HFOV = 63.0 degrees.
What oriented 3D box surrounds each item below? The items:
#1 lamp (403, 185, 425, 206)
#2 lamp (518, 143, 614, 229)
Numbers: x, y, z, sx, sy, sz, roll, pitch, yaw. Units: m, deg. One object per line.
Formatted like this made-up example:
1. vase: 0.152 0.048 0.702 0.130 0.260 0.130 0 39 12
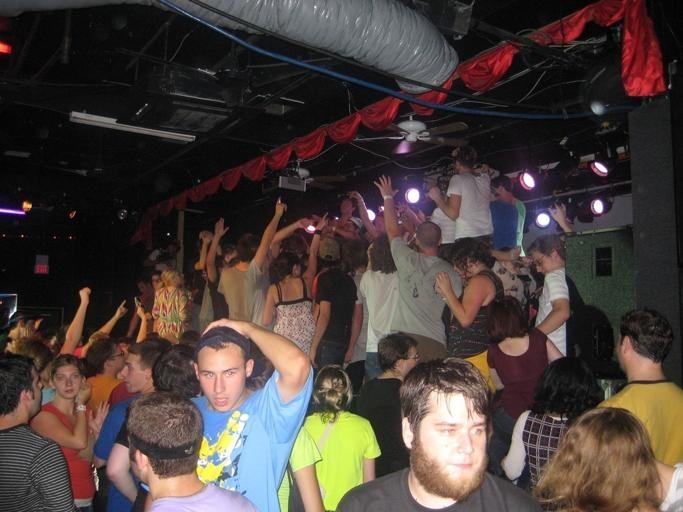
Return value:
1. lamp: 1.314 -1.129 10.265 0.448 0.506 0.109 11 -1 26
2. lamp: 4.442 -0.936 10.605 1.832 2.096 0.500 -9 31 15
